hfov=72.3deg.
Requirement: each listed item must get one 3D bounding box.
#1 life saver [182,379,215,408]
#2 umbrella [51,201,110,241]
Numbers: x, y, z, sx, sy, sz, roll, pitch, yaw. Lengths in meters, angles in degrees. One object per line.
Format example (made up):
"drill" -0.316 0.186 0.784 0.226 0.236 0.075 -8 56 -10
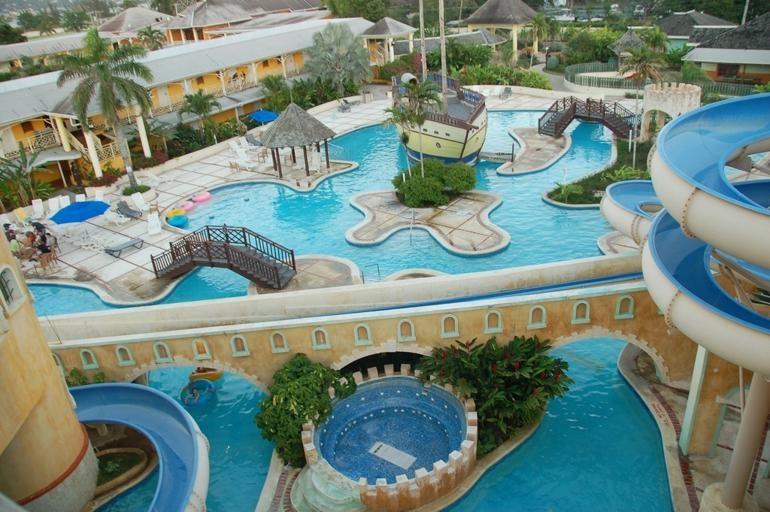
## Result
"life saver" -8.392 6.036 23.531 1.387 0.685 1.093 -7 28 -7
"umbrella" -18.618 -2.739 32.139 1.734 0.691 2.831 21 36 38
